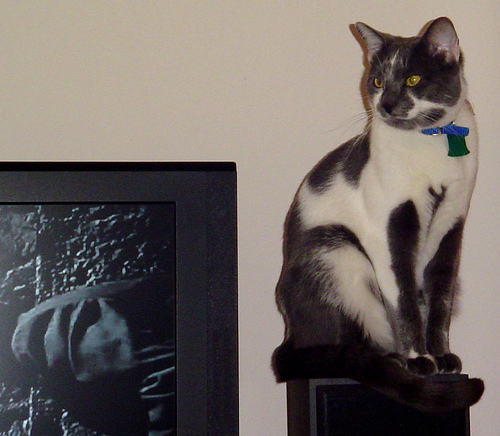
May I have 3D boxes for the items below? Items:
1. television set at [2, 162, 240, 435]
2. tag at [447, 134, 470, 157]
[{"bbox_3d":[-0.332,0.225,2.300,0.544,0.708,0.064,-1,-3,2],"label":"television set"},{"bbox_3d":[0.500,-0.177,2.306,0.047,0.059,0.007,-2,-6,2],"label":"tag"}]
